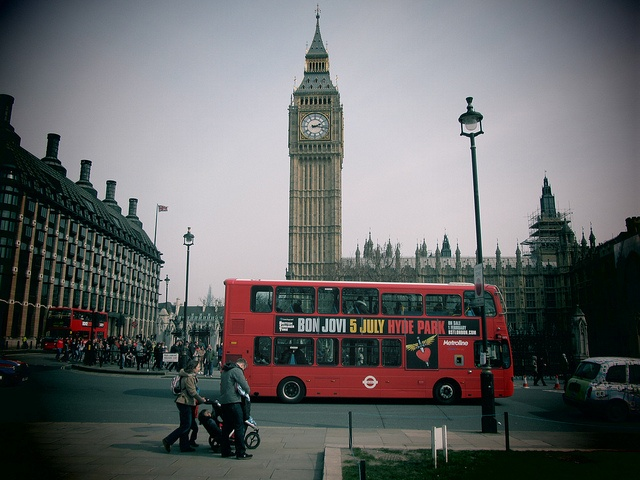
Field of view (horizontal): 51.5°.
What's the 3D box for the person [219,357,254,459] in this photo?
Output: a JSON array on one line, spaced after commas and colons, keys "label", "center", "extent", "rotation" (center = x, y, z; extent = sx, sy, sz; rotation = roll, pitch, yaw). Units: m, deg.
[{"label": "person", "center": [-2.707, 5.321, 20.978], "extent": [0.889, 3.043, 0.473], "rotation": [1, -11, -9]}]
